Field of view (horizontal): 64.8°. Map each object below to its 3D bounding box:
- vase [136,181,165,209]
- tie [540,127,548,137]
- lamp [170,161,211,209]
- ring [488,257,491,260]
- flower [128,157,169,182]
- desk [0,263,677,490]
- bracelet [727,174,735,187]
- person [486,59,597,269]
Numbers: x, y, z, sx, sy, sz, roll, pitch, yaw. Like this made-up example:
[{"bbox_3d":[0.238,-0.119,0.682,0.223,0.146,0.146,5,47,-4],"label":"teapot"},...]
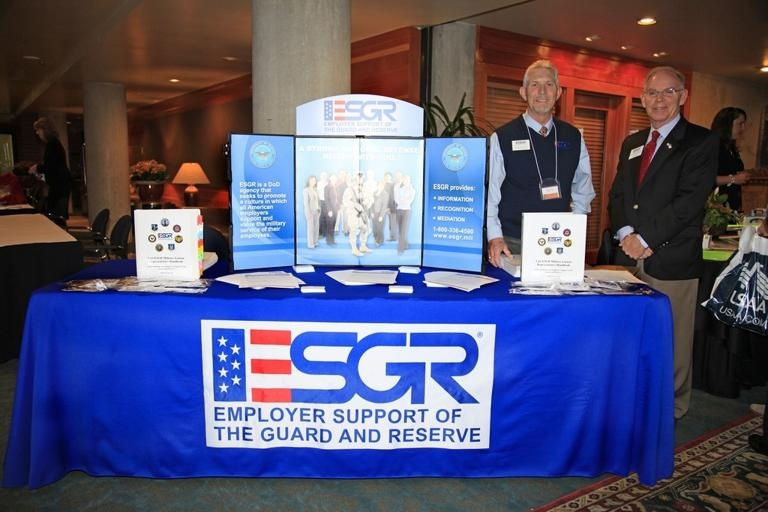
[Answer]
[{"bbox_3d":[-3.663,-0.965,9.474,0.377,0.401,0.556,-4,7,-27],"label":"vase"},{"bbox_3d":[1.065,-0.828,4.034,0.049,0.057,0.016,4,-6,-3],"label":"tie"},{"bbox_3d":[-3.347,-1.211,10.541,0.689,0.792,0.732,-2,1,-12],"label":"lamp"},{"bbox_3d":[0.654,0.015,3.773,0.005,0.018,0.018,3,-2,-42],"label":"ring"},{"bbox_3d":[-3.700,-1.329,9.503,0.460,0.327,0.516,-4,7,-30],"label":"flower"},{"bbox_3d":[-0.324,0.389,3.569,2.663,0.772,1.644,0,11,0],"label":"desk"},{"bbox_3d":[3.084,-0.679,5.373,0.025,0.075,0.060,6,-3,-41],"label":"bracelet"},{"bbox_3d":[0.979,-0.622,4.017,0.867,1.297,0.430,-4,7,-24],"label":"person"}]
